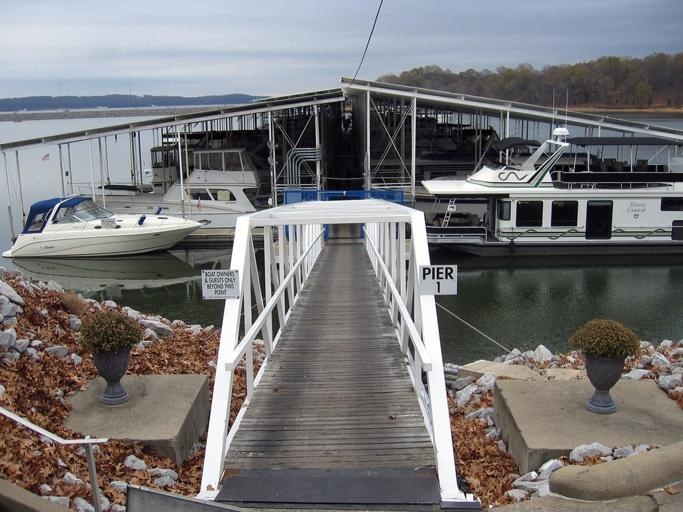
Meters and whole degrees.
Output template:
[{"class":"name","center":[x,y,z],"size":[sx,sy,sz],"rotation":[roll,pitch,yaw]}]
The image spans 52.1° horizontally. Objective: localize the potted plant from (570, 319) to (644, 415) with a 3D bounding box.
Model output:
[{"class":"potted plant","center":[3.641,1.543,9.786],"size":[0.898,1.227,0.430],"rotation":[0,10,16]}]

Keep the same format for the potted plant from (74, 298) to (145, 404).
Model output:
[{"class":"potted plant","center":[-3.210,1.402,10.194],"size":[1.200,1.560,1.151],"rotation":[2,5,3]}]
